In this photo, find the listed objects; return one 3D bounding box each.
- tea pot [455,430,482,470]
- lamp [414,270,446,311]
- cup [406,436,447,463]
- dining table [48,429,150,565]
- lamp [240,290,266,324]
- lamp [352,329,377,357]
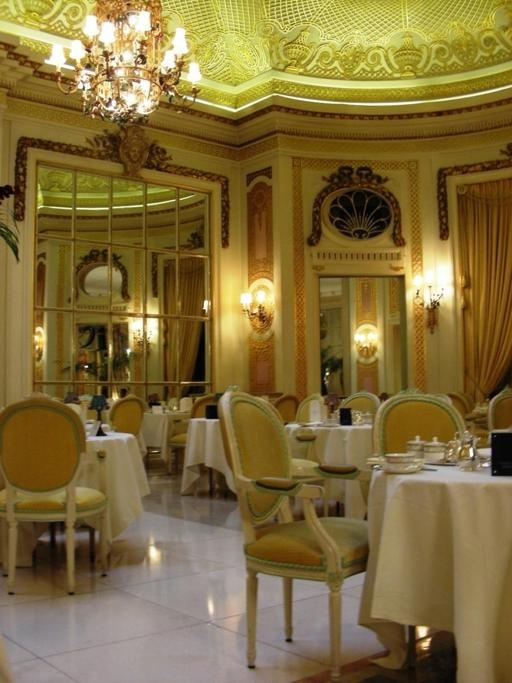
[{"bbox_3d":[0.730,0.374,1.943,0.103,0.151,0.114,0,-7,17],"label":"tea pot"},{"bbox_3d":[2.999,-0.852,9.688,0.698,0.683,0.225,0,-10,4],"label":"lamp"},{"bbox_3d":[0.655,0.409,2.173,0.166,0.108,0.099,-1,-3,3],"label":"cup"},{"bbox_3d":[-0.894,0.980,3.740,0.668,0.662,0.697,-1,-7,7],"label":"dining table"},{"bbox_3d":[-0.038,-0.614,9.799,0.581,0.720,0.221,-2,5,35],"label":"lamp"},{"bbox_3d":[2.937,0.044,15.142,0.718,0.910,0.290,-2,-8,26],"label":"lamp"}]
